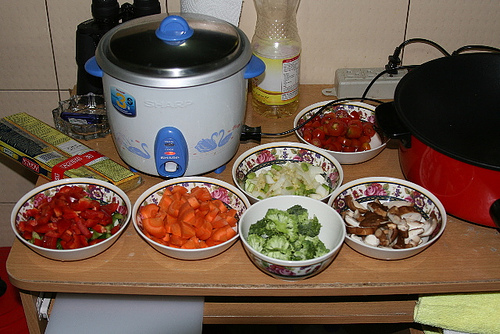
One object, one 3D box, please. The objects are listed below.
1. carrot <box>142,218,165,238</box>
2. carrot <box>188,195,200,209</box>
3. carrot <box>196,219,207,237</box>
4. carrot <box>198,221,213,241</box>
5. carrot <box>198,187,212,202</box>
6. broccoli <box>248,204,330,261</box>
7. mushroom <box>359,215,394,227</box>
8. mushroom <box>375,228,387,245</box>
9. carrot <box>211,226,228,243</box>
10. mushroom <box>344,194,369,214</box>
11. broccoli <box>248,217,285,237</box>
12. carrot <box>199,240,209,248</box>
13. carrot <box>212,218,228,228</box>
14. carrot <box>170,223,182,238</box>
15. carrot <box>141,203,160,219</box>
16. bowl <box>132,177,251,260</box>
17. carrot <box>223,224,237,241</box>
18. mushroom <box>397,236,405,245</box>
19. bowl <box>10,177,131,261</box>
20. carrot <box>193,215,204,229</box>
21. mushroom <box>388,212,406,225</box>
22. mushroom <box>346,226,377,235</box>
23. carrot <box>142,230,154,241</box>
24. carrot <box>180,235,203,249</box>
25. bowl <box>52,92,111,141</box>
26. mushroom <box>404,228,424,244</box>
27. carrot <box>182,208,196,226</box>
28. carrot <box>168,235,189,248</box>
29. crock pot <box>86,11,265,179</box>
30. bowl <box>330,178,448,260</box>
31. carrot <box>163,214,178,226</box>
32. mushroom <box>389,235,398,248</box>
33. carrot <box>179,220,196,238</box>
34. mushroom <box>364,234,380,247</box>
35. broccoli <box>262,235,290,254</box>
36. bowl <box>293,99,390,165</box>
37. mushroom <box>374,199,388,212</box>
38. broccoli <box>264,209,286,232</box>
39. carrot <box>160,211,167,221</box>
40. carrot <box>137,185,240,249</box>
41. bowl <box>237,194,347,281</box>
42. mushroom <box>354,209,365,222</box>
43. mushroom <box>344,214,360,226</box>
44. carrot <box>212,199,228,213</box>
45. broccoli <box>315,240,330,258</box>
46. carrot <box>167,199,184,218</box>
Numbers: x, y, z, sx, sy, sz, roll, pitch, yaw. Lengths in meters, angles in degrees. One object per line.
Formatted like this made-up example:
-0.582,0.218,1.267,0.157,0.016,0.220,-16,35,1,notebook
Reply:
-0.234,0.150,0.939,0.048,0.039,0.018,19,8,3,carrot
-0.148,0.089,0.989,0.025,0.026,0.040,-17,46,-17,carrot
-0.121,0.155,0.934,0.020,0.010,0.028,3,74,3,carrot
-0.107,0.155,0.938,0.036,0.022,0.037,10,82,24,carrot
-0.120,0.076,1.021,0.028,0.010,0.029,-7,76,-5,carrot
0.088,0.169,0.933,0.135,0.042,0.137,27,45,23,broccoli
0.317,0.138,0.953,0.084,0.017,0.037,-7,44,-8,mushroom
0.321,0.169,0.930,0.028,0.014,0.036,1,85,-15,mushroom
-0.075,0.165,0.933,0.034,0.010,0.034,32,89,-4,carrot
0.282,0.099,1.014,0.055,0.013,0.042,39,42,13,mushroom
0.036,0.151,0.944,0.051,0.014,0.051,-8,32,-17,broccoli
-0.117,0.191,0.946,0.014,0.007,0.017,3,46,-8,carrot
-0.076,0.141,0.953,0.025,0.008,0.024,-5,45,14,carrot
-0.183,0.156,0.930,0.032,0.011,0.030,-2,89,4,carrot
-0.258,0.114,0.981,0.037,0.017,0.032,-14,78,0,carrot
-0.167,0.131,0.982,0.257,0.084,0.260,5,38,-4,bowl
-0.051,0.162,0.937,0.030,0.042,0.015,-3,6,-3,carrot
0.370,0.180,0.933,0.014,0.013,0.018,-1,49,-1,mushroom
-0.454,0.139,0.977,0.187,0.096,0.157,10,33,8,bowl
-0.130,0.137,0.945,0.029,0.008,0.028,-1,79,9,carrot
0.375,0.131,0.964,0.036,0.009,0.023,38,75,24,mushroom
0.276,0.158,0.945,0.073,0.022,0.020,8,44,8,mushroom
-0.261,0.171,0.958,0.008,0.018,0.020,-40,38,-3,carrot
-0.146,0.186,0.930,0.036,0.013,0.027,10,66,7,carrot
-0.546,-0.162,1.246,0.136,0.111,0.171,16,28,37,bowl
0.410,0.171,0.950,0.032,0.020,0.055,27,50,25,mushroom
-0.152,0.123,0.946,0.036,0.036,0.014,-6,9,-2,carrot
-0.179,0.182,0.932,0.032,0.009,0.028,23,59,9,carrot
-0.226,-0.219,1.146,0.458,0.428,0.459,3,39,-2,crock pot
0.359,0.133,0.996,0.274,0.082,0.233,-8,44,-9,bowl
-0.204,0.134,0.962,0.026,0.025,0.023,-2,4,-15,carrot
0.349,0.182,0.928,0.006,0.004,0.033,34,78,15,mushroom
-0.153,0.153,0.925,0.042,0.012,0.032,37,76,-1,carrot
0.298,0.181,0.930,0.037,0.017,0.031,25,49,23,mushroom
0.071,0.183,0.902,0.044,0.013,0.042,15,55,10,broccoli
0.331,-0.172,1.295,0.397,0.194,0.273,14,30,30,bowl
0.347,0.102,1.005,0.015,0.015,0.043,-4,39,-9,mushroom
0.062,0.131,0.952,0.035,0.016,0.060,-34,80,12,broccoli
-0.223,0.126,0.978,0.015,0.006,0.021,17,73,-14,carrot
-0.159,0.122,0.977,0.258,0.060,0.187,1,44,0,carrot
0.103,0.162,0.924,0.213,0.098,0.216,-1,34,0,bowl
0.282,0.127,0.988,0.020,0.023,0.025,-5,11,-27,mushroom
0.262,0.137,0.967,0.031,0.011,0.020,38,73,22,mushroom
-0.079,0.101,1.007,0.035,0.011,0.026,39,19,6,carrot
0.176,0.197,0.920,0.031,0.016,0.048,14,45,13,broccoli
-0.196,0.107,1.002,0.035,0.040,0.040,2,15,-35,carrot
